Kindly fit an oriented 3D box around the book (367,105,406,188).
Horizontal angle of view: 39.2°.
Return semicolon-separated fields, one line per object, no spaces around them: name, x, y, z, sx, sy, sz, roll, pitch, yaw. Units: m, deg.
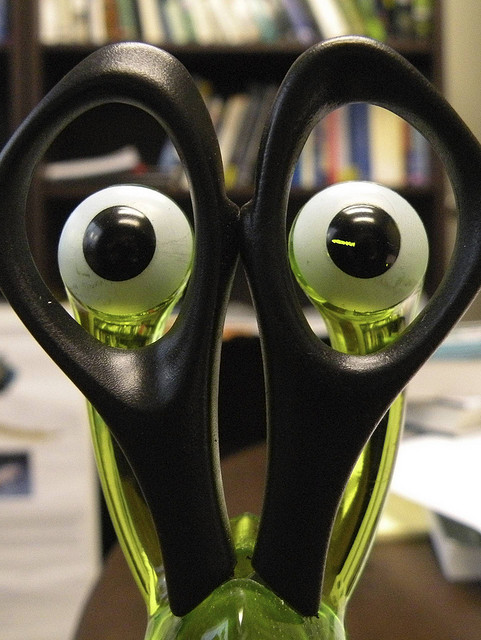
book;0.350;-0.417;1.617;0.092;0.165;0.166;-11;21;-9
